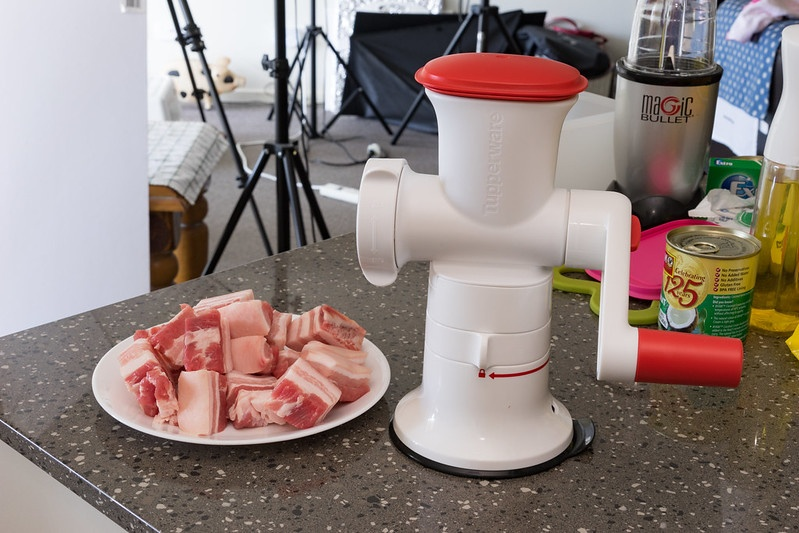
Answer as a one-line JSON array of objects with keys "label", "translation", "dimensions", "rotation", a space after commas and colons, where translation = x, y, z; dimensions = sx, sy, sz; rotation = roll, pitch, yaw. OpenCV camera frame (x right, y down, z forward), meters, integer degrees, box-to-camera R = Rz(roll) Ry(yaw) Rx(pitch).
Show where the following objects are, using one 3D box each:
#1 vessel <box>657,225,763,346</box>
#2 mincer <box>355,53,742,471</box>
[{"label": "vessel", "translation": [0.385, 0.027, 0.937], "dimensions": [0.124, 0.146, 0.132], "rotation": [-3, 25, -4]}, {"label": "mincer", "translation": [0.144, 0.000, 0.725], "dimensions": [0.375, 0.388, 0.191], "rotation": [-2, 29, -1]}]
